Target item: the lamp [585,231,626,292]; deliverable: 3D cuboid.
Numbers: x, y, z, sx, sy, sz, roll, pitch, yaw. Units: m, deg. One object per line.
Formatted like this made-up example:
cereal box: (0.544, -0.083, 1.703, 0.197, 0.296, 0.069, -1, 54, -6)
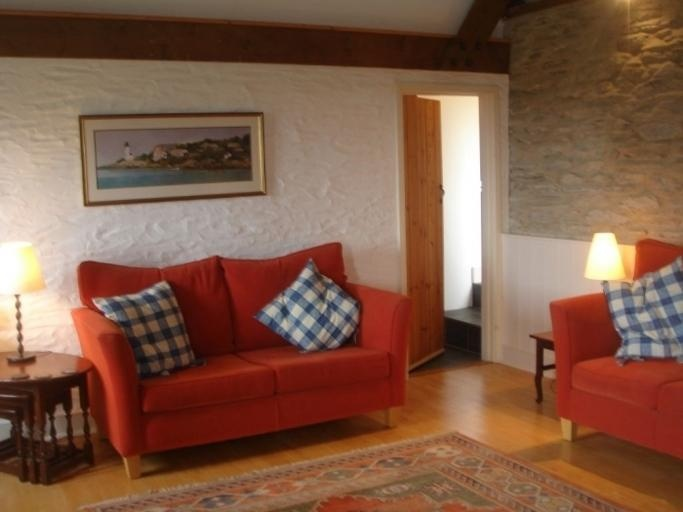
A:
lamp: (1.862, 0.046, 3.838, 0.350, 0.364, 0.338, -1, 14, 3)
